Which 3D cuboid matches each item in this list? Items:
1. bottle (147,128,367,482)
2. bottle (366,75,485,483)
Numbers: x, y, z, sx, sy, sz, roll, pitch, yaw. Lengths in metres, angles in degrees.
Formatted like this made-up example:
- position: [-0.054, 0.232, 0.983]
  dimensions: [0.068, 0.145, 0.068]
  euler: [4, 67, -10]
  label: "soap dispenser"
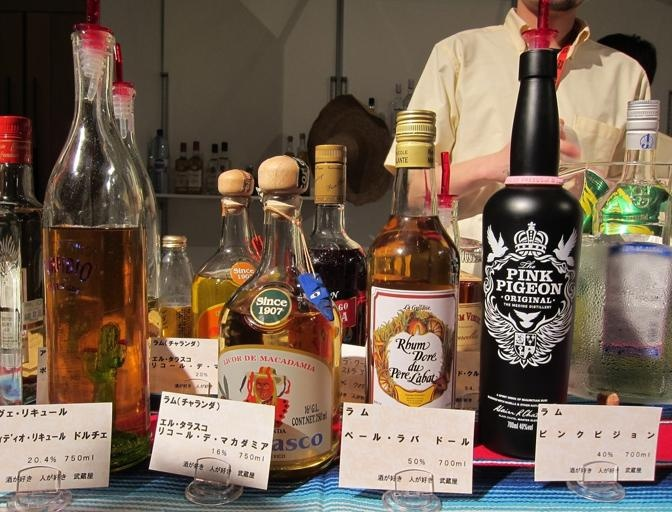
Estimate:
- position: [-0.088, 0.054, 0.730]
  dimensions: [0.224, 0.351, 0.143]
  euler: [1, 0, -11]
  label: "bottle"
- position: [0.100, 0.032, 0.764]
  dimensions: [0.137, 0.419, 0.204]
  euler: [1, 0, 13]
  label: "bottle"
